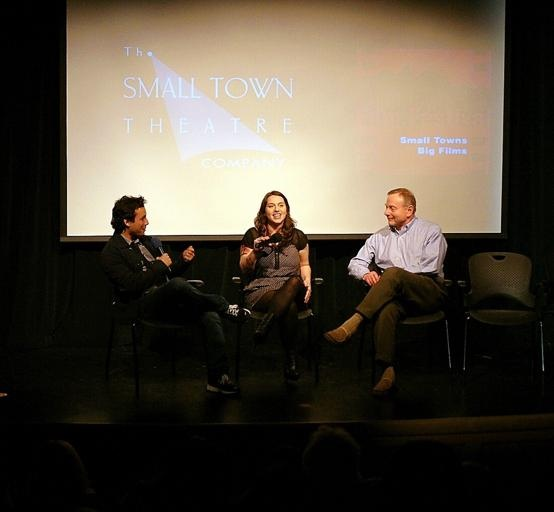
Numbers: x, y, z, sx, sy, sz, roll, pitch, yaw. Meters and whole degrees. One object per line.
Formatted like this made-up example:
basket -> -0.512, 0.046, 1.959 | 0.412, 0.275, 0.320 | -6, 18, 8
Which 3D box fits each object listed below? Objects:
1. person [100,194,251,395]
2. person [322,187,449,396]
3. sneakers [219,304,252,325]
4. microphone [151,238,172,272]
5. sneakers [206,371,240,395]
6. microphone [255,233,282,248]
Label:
person -> -0.611, 0.198, 3.183 | 0.857, 1.129, 0.440 | 1, 3, 16
person -> 0.702, 0.146, 3.211 | 0.631, 1.142, 0.874 | 1, 4, 19
sneakers -> -0.240, 0.340, 3.127 | 0.193, 0.084, 0.068 | 29, -19, -34
microphone -> -0.760, -0.010, 3.416 | 0.062, 0.060, 0.311 | 42, 13, -47
sneakers -> -0.304, 0.718, 2.969 | 0.202, 0.114, 0.085 | -3, -6, 35
microphone -> -0.047, -0.096, 3.320 | 0.166, 0.098, 0.144 | 0, 4, 5
